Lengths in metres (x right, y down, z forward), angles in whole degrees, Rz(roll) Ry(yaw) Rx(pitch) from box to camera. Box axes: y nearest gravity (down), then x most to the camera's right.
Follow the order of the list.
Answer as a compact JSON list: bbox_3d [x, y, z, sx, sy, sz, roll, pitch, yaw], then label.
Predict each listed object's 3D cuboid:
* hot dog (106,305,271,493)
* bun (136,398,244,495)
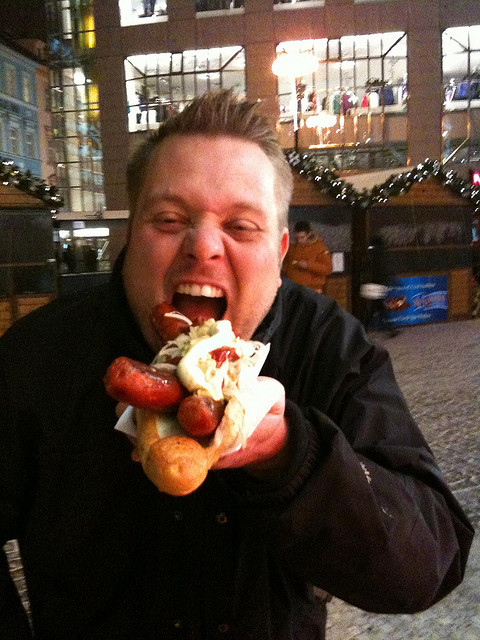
[{"bbox_3d":[-0.063,0.142,0.937,0.245,0.133,0.432,10,30,13],"label":"hot dog"},{"bbox_3d":[-0.102,0.183,0.834,0.135,0.058,0.177,3,23,-16],"label":"bun"}]
